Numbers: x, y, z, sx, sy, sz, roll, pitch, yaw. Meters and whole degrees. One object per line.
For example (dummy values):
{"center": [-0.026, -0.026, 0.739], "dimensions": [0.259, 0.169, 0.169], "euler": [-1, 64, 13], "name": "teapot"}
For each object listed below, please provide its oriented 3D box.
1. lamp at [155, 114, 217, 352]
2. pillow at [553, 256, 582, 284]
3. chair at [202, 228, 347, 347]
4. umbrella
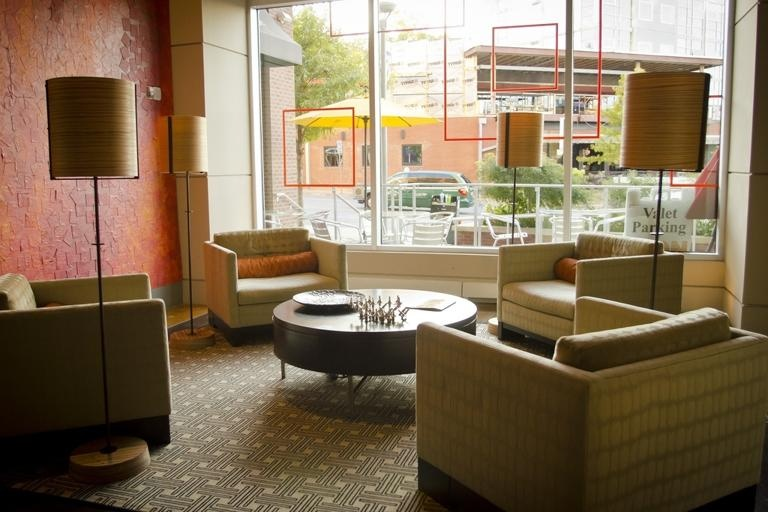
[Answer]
{"center": [-2.074, -0.359, 6.161], "dimensions": [0.559, 2.210, 2.186], "euler": [-7, 11, -16], "name": "lamp"}
{"center": [1.755, 0.139, 5.638], "dimensions": [0.237, 0.234, 0.281], "euler": [-8, 5, -21], "name": "pillow"}
{"center": [-1.121, 0.178, 6.120], "dimensions": [1.667, 1.254, 1.129], "euler": [-3, 2, -30], "name": "chair"}
{"center": [-0.178, -1.232, 7.391], "dimensions": [1.523, 0.904, 1.393], "euler": [2, 7, 19], "name": "umbrella"}
